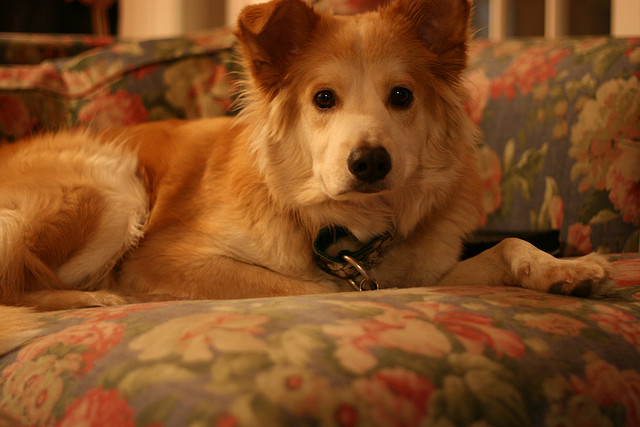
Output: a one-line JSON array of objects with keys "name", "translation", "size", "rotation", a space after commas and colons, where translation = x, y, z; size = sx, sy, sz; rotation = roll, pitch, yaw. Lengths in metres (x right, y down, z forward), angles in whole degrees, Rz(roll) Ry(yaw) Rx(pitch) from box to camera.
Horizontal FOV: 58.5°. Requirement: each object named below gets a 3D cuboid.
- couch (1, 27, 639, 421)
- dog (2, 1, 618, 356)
[{"name": "couch", "translation": [0.059, 0.041, 2.592], "size": [2.223, 0.846, 1.657], "rotation": [0, 19, -8]}, {"name": "dog", "translation": [-0.295, -0.133, 2.874], "size": [1.870, 1.160, 2.408], "rotation": [1, -2, -29]}]
